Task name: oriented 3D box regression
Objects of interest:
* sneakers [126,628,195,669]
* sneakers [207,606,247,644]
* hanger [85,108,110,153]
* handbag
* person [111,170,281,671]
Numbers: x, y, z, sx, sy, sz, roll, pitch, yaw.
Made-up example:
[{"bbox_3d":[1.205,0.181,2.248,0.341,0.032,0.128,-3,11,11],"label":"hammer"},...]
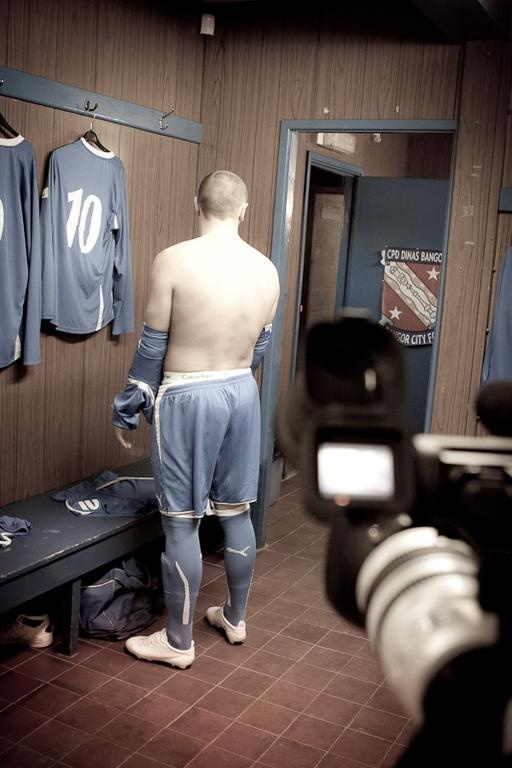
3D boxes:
[{"bbox_3d":[-0.416,1.176,2.512,0.244,0.132,0.092,18,15,5],"label":"sneakers"},{"bbox_3d":[-0.144,1.145,2.790,0.089,0.118,0.258,-3,23,-36],"label":"sneakers"},{"bbox_3d":[-0.802,-1.311,2.913,0.073,0.240,0.201,4,8,16],"label":"hanger"},{"bbox_3d":[-0.635,1.046,2.769,0.260,0.164,0.363,6,13,40],"label":"handbag"},{"bbox_3d":[-0.262,0.172,2.471,0.686,2.149,0.341,0,8,-15],"label":"person"}]
